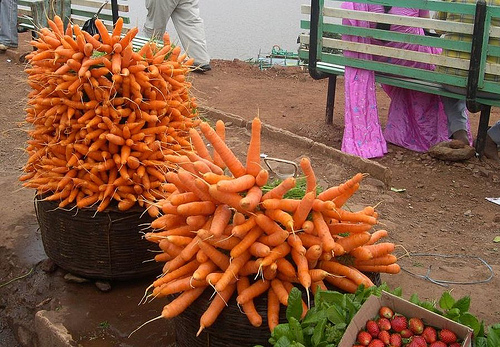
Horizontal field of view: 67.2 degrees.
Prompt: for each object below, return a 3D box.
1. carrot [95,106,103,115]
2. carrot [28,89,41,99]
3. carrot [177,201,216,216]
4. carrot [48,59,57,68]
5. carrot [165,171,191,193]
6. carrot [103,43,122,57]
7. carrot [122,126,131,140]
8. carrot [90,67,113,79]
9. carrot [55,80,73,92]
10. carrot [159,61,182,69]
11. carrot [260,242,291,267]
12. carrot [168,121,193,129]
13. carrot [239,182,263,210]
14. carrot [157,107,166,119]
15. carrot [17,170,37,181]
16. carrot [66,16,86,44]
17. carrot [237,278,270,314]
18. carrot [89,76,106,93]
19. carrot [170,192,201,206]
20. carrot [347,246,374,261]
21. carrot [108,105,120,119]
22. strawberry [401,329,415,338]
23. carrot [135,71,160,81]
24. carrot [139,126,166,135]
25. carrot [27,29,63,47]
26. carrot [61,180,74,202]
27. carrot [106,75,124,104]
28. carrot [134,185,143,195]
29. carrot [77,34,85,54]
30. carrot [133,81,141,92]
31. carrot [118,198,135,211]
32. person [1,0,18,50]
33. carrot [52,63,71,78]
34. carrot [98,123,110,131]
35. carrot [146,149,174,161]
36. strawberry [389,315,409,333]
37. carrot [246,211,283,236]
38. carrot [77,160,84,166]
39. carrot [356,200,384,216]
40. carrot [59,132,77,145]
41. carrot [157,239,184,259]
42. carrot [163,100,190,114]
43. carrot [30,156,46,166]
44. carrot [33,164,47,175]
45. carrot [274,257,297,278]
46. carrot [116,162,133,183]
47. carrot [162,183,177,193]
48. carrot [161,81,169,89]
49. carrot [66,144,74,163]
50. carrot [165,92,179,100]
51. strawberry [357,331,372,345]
[{"bbox_3d":[-1.248,-0.508,3.089,0.031,0.070,0.076,4,21,8],"label":"carrot"},{"bbox_3d":[-1.901,-0.701,3.313,0.109,0.059,0.037,-30,-6,14],"label":"carrot"},{"bbox_3d":[-0.338,0.228,2.429,0.299,0.098,0.083,1,-4,-37],"label":"carrot"},{"bbox_3d":[-1.652,-0.906,3.124,0.072,0.075,0.044,1,20,-22],"label":"carrot"},{"bbox_3d":[-0.471,0.061,2.472,0.047,0.175,0.037,-36,41,0],"label":"carrot"},{"bbox_3d":[-1.103,-0.999,3.068,0.092,0.041,0.038,-37,-16,9],"label":"carrot"},{"bbox_3d":[-1.034,-0.332,3.124,0.047,0.101,0.040,-2,51,-6],"label":"carrot"},{"bbox_3d":[-1.208,-0.802,3.055,0.215,0.069,0.059,-11,-4,40],"label":"carrot"},{"bbox_3d":[-1.498,-0.698,3.069,0.055,0.054,0.185,-6,28,33],"label":"carrot"},{"bbox_3d":[-0.712,-0.975,3.362,0.179,0.052,0.049,1,-29,-32],"label":"carrot"},{"bbox_3d":[0.171,0.500,2.389,0.073,0.080,0.295,8,24,42],"label":"carrot"},{"bbox_3d":[-0.610,-0.440,3.395,0.252,0.075,0.069,-7,7,-27],"label":"carrot"},{"bbox_3d":[0.013,0.146,2.297,0.063,0.077,0.236,6,18,10],"label":"carrot"},{"bbox_3d":[-0.775,-0.528,3.275,0.083,0.042,0.037,-11,48,15],"label":"carrot"},{"bbox_3d":[-2.319,0.026,3.885,0.058,0.062,0.202,27,38,27],"label":"carrot"},{"bbox_3d":[-1.432,-1.164,3.089,0.063,0.061,0.367,-2,55,-46],"label":"carrot"},{"bbox_3d":[0.022,0.749,2.372,0.083,0.077,0.287,14,27,38],"label":"carrot"},{"bbox_3d":[-1.234,-0.729,3.042,0.184,0.036,0.045,57,19,23],"label":"carrot"},{"bbox_3d":[-0.425,0.163,2.446,0.205,0.064,0.061,-7,5,-19],"label":"carrot"},{"bbox_3d":[0.717,0.522,2.432,0.148,0.057,0.071,-11,45,47],"label":"carrot"},{"bbox_3d":[-1.122,-0.498,3.092,0.039,0.040,0.136,-17,67,-39],"label":"carrot"},{"bbox_3d":[0.915,0.925,2.182,0.054,0.035,0.041,-1,6,11],"label":"strawberry"},{"bbox_3d":[-0.902,-0.799,3.104,0.115,0.070,0.040,2,20,0],"label":"carrot"},{"bbox_3d":[-0.837,-0.365,3.227,0.284,0.076,0.075,-3,5,-16],"label":"carrot"},{"bbox_3d":[-1.773,-1.161,3.247,0.361,0.083,0.088,27,58,17],"label":"carrot"},{"bbox_3d":[-1.583,0.141,3.241,0.034,0.132,0.034,35,3,-6],"label":"carrot"},{"bbox_3d":[-1.106,-0.691,3.026,0.049,0.175,0.050,18,-1,-18],"label":"carrot"},{"bbox_3d":[-0.978,0.144,3.268,0.045,0.081,0.046,-54,31,-16],"label":"carrot"},{"bbox_3d":[-1.365,-1.030,3.012,0.035,0.124,0.035,7,36,25],"label":"carrot"},{"bbox_3d":[-0.927,-0.701,3.050,0.038,0.025,0.078,-24,58,-15],"label":"carrot"},{"bbox_3d":[-1.079,0.268,3.270,0.069,0.075,0.147,9,13,26],"label":"carrot"},{"bbox_3d":[-5.422,-3.275,8.394,0.435,1.007,0.309,-12,24,-31],"label":"person"},{"bbox_3d":[-1.531,-0.841,3.077,0.175,0.051,0.052,-45,7,-14],"label":"carrot"},{"bbox_3d":[-1.207,-0.378,3.083,0.030,0.030,0.095,-30,-9,6],"label":"carrot"},{"bbox_3d":[-0.766,-0.155,3.133,0.168,0.054,0.050,-33,28,-26],"label":"carrot"},{"bbox_3d":[0.879,0.881,2.208,0.089,0.088,0.096,-27,44,3],"label":"strawberry"},{"bbox_3d":[0.106,0.322,2.388,0.252,0.073,0.075,35,37,-7],"label":"carrot"},{"bbox_3d":[-1.444,-0.087,3.169,0.043,0.046,0.015,5,1,23],"label":"carrot"},{"bbox_3d":[0.818,0.246,2.556,0.188,0.051,0.044,-28,29,-5],"label":"carrot"},{"bbox_3d":[-1.535,-0.294,3.159,0.036,0.032,0.112,22,60,33],"label":"carrot"},{"bbox_3d":[-0.542,0.503,2.584,0.169,0.085,0.064,32,17,-3],"label":"carrot"},{"bbox_3d":[-0.649,-0.588,3.353,0.251,0.046,0.047,19,-4,-30],"label":"carrot"},{"bbox_3d":[-1.912,-0.100,3.386,0.155,0.037,0.041,42,1,6],"label":"carrot"},{"bbox_3d":[-1.916,-0.036,3.430,0.192,0.046,0.052,38,43,23],"label":"carrot"},{"bbox_3d":[0.220,0.585,2.402,0.067,0.065,0.212,-5,17,-9],"label":"carrot"},{"bbox_3d":[-1.076,-0.001,3.204,0.056,0.193,0.051,-33,-17,14],"label":"carrot"},{"bbox_3d":[-0.595,0.106,2.754,0.116,0.039,0.059,5,56,49],"label":"carrot"},{"bbox_3d":[-0.741,-0.763,3.271,0.054,0.065,0.030,-27,23,19],"label":"carrot"},{"bbox_3d":[-1.529,-0.177,3.179,0.048,0.174,0.048,17,24,10],"label":"carrot"},{"bbox_3d":[-0.696,-0.687,3.343,0.137,0.041,0.039,-24,-13,-20],"label":"carrot"},{"bbox_3d":[0.660,0.946,2.181,0.058,0.065,0.069,14,0,-6],"label":"strawberry"}]
